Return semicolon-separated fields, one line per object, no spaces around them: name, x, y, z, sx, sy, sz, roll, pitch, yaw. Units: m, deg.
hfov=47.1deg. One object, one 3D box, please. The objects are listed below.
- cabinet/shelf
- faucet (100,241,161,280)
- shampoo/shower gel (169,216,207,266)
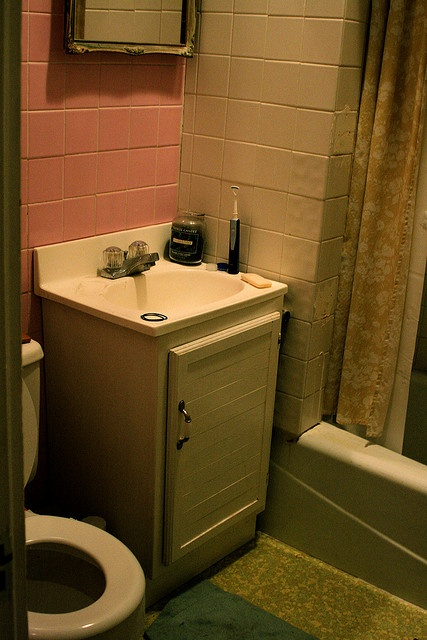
cabinet/shelf;-0.073;0.314;1.893;0.513;1.120;0.732;-6;31;-15
faucet;-0.304;-0.222;1.784;0.238;0.125;0.156;-2;13;-24
shampoo/shower gel;-0.107;-0.348;1.924;0.119;0.222;0.132;7;39;-5
